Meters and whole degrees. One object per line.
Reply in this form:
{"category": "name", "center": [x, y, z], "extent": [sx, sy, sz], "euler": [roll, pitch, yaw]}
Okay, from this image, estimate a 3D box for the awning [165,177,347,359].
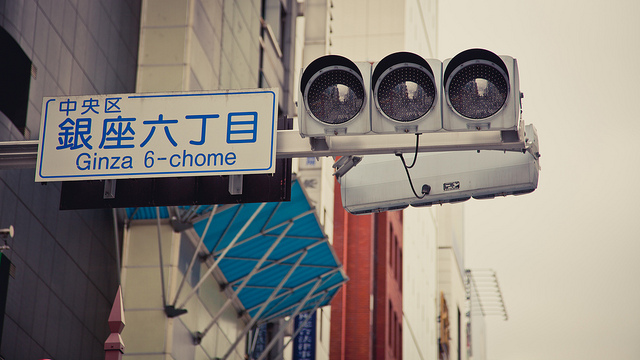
{"category": "awning", "center": [-2.218, 4.155, 52.959], "extent": [5.114, 5.474, 8.623], "euler": [-6, -21, 13]}
